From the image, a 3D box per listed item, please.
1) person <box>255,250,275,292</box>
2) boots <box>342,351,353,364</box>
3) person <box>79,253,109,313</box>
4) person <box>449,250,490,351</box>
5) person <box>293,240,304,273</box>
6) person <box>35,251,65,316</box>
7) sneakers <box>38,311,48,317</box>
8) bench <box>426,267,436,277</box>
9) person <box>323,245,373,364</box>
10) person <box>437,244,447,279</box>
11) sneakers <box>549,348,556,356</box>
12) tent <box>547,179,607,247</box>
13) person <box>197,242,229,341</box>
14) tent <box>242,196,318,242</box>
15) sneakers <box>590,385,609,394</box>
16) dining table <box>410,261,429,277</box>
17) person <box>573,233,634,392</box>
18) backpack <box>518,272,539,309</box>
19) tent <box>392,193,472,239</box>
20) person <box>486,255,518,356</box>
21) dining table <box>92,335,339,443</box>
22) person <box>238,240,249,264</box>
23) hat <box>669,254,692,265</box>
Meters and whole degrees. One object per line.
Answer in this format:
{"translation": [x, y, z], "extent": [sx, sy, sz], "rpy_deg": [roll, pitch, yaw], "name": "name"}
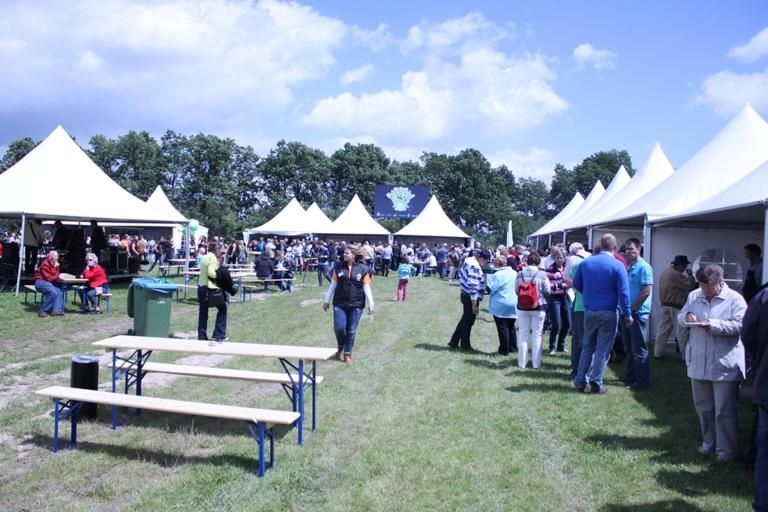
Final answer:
{"translation": [-3.699, 0.529, 20.276], "extent": [0.553, 1.612, 2.119], "rpy_deg": [-1, 14, -10], "name": "person"}
{"translation": [-0.652, 1.799, 11.571], "extent": [0.198, 0.200, 0.103], "rpy_deg": [-2, -2, 42], "name": "boots"}
{"translation": [-6.817, 0.686, 15.207], "extent": [0.571, 1.245, 0.567], "rpy_deg": [1, 14, 1], "name": "person"}
{"translation": [1.647, 0.880, 12.862], "extent": [0.679, 2.050, 1.046], "rpy_deg": [2, 14, 5], "name": "person"}
{"translation": [-3.815, 0.102, 28.805], "extent": [0.481, 1.379, 0.875], "rpy_deg": [-1, 14, -7], "name": "person"}
{"translation": [-7.642, 0.621, 14.850], "extent": [0.554, 1.404, 0.701], "rpy_deg": [-6, 15, -28], "name": "person"}
{"translation": [-7.665, 1.302, 14.638], "extent": [0.185, 0.086, 0.088], "rpy_deg": [-3, 2, 33], "name": "sneakers"}
{"translation": [2.325, 0.772, 32.510], "extent": [0.392, 0.284, 0.563], "rpy_deg": [-3, 3, -17], "name": "bench"}
{"translation": [-0.612, 0.861, 11.360], "extent": [0.687, 2.153, 0.727], "rpy_deg": [12, 18, 39], "name": "person"}
{"translation": [2.629, 0.300, 30.264], "extent": [0.480, 1.471, 1.210], "rpy_deg": [2, 14, 4], "name": "person"}
{"translation": [3.308, 1.903, 12.830], "extent": [0.127, 0.134, 0.081], "rpy_deg": [-3, -2, 14], "name": "sneakers"}
{"translation": [8.591, -2.196, 27.774], "extent": [3.011, 1.755, 3.074], "rpy_deg": [-1, -1, 0], "name": "tent"}
{"translation": [-3.339, 0.719, 12.527], "extent": [0.561, 1.978, 0.581], "rpy_deg": [-3, 14, -17], "name": "person"}
{"translation": [-5.465, -1.728, 34.002], "extent": [4.415, 1.958, 4.617], "rpy_deg": [2, 2, 14], "name": "tent"}
{"translation": [3.423, 2.127, 10.404], "extent": [0.292, 0.127, 0.116], "rpy_deg": [1, 0, -30], "name": "sneakers"}
{"translation": [1.732, 0.538, 31.584], "extent": [0.750, 0.486, 0.775], "rpy_deg": [2, 8, 16], "name": "dining table"}
{"translation": [3.533, 0.926, 10.533], "extent": [0.899, 2.564, 0.817], "rpy_deg": [2, -4, 44], "name": "person"}
{"translation": [2.544, 0.685, 11.590], "extent": [0.437, 0.509, 0.283], "rpy_deg": [1, 19, 30], "name": "backpack"}
{"translation": [2.733, -1.719, 35.855], "extent": [2.903, 1.777, 3.004], "rpy_deg": [0, -3, 22], "name": "tent"}
{"translation": [2.284, 0.954, 12.479], "extent": [0.589, 1.901, 0.514], "rpy_deg": [3, 14, 10], "name": "person"}
{"translation": [-2.362, 1.821, 9.109], "extent": [3.314, 1.243, 0.909], "rpy_deg": [3, 5, 7], "name": "dining table"}
{"translation": [-5.596, -0.150, 25.584], "extent": [0.325, 0.755, 1.333], "rpy_deg": [-3, 14, -16], "name": "person"}
{"translation": [5.299, 0.067, 11.720], "extent": [0.324, 0.139, 0.378], "rpy_deg": [1, 0, 17], "name": "hat"}
